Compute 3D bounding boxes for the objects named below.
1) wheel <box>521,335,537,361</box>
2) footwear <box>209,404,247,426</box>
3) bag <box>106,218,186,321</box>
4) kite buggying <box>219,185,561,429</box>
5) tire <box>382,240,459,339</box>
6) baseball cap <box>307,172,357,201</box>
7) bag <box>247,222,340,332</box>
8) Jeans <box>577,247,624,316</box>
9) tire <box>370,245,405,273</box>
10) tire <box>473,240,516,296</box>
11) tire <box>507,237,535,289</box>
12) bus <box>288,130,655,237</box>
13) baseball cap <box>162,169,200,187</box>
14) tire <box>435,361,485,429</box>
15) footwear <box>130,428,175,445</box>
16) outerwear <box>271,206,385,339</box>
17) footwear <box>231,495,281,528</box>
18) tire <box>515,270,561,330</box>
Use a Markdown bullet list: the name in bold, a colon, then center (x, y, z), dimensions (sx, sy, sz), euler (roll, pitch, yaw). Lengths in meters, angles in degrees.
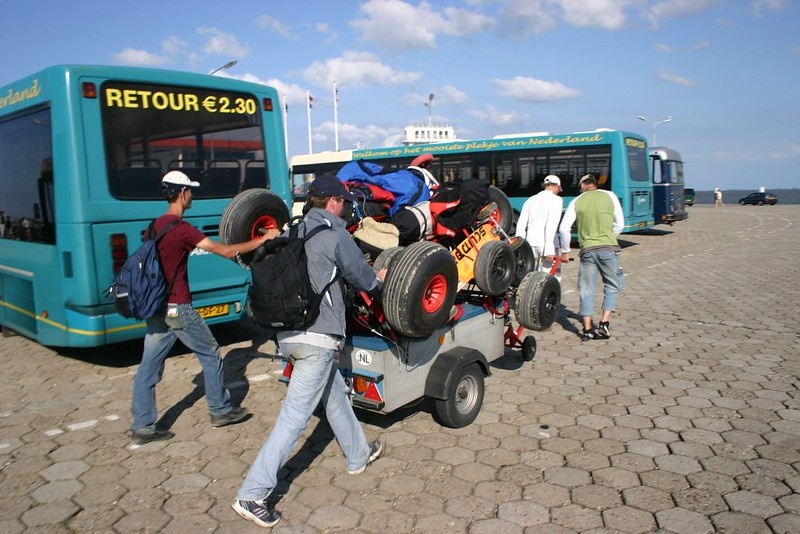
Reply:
- **wheel**: center (1.792, 1.161, 6.708), dimensions (0.142, 0.286, 0.278), euler (10, 51, 35)
- **footwear**: center (-1.869, 1.645, 5.377), dimensions (0.448, 0.157, 0.174), euler (-9, 16, -42)
- **bag**: center (-2.534, 0.077, 4.814), dimensions (0.659, 0.969, 0.324), euler (-9, 16, -25)
- **kite buggying**: center (0.359, 0.300, 6.179), dimensions (2.668, 1.950, 3.885), euler (10, 19, 38)
- **tire**: center (0.167, 0.235, 4.656), dimensions (0.386, 0.922, 1.074), euler (4, -5, 38)
- **baseball cap**: center (-0.619, -0.703, 4.377), dimensions (0.377, 0.178, 0.235), euler (-5, 10, -25)
- **bag**: center (-0.963, 0.129, 4.432), dimensions (0.690, 0.764, 0.881), euler (0, 5, 43)
- **Jeans**: center (3.253, 0.266, 7.836), dimensions (0.627, 1.210, 1.175), euler (4, 15, 22)
- **tire**: center (-0.145, -0.061, 4.779), dimensions (0.268, 0.231, 0.268), euler (4, 10, 36)
- **tire**: center (1.184, 0.039, 6.071), dimensions (0.271, 0.664, 0.778), euler (9, 10, 38)
- **tire**: center (1.592, -0.034, 6.715), dimensions (0.255, 0.619, 0.711), euler (6, -6, 42)
- **bus**: center (3.191, -3.387, 22.852), dimensions (15.223, 3.839, 3.752), euler (4, 10, 32)
- **baseball cap**: center (-2.337, -0.883, 5.038), dimensions (0.283, 0.165, 0.368), euler (-8, 15, -23)
- **tire**: center (0.613, 1.380, 5.145), dimensions (0.684, 0.606, 0.245), euler (23, -13, -41)
- **footwear**: center (-2.583, 1.750, 5.056), dimensions (0.440, 0.161, 0.165), euler (-4, 10, -23)
- **outerwear**: center (-0.764, -0.044, 4.780), dimensions (1.132, 1.330, 1.125), euler (-7, 18, -37)
- **footwear**: center (-1.140, 1.988, 3.979), dimensions (0.479, 0.212, 0.176), euler (25, 9, -21)
- **tire**: center (1.776, 0.437, 6.262), dimensions (0.342, 0.720, 0.816), euler (4, 26, 43)
